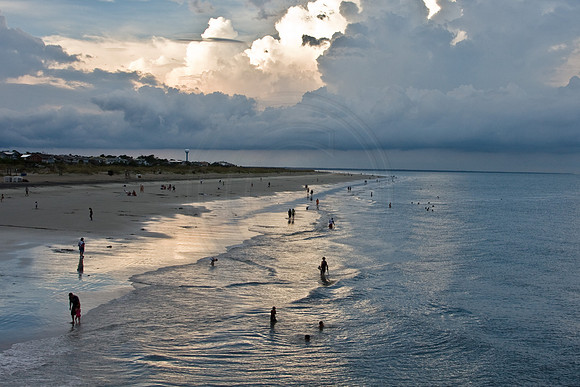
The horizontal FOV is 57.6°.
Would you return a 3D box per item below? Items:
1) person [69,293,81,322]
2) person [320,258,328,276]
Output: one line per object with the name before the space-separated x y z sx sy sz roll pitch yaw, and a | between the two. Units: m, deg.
person | -11.577 6.366 28.372 0.514 1.582 0.720 0 10 -22
person | 2.354 5.186 36.020 0.574 1.190 0.854 5 9 4
